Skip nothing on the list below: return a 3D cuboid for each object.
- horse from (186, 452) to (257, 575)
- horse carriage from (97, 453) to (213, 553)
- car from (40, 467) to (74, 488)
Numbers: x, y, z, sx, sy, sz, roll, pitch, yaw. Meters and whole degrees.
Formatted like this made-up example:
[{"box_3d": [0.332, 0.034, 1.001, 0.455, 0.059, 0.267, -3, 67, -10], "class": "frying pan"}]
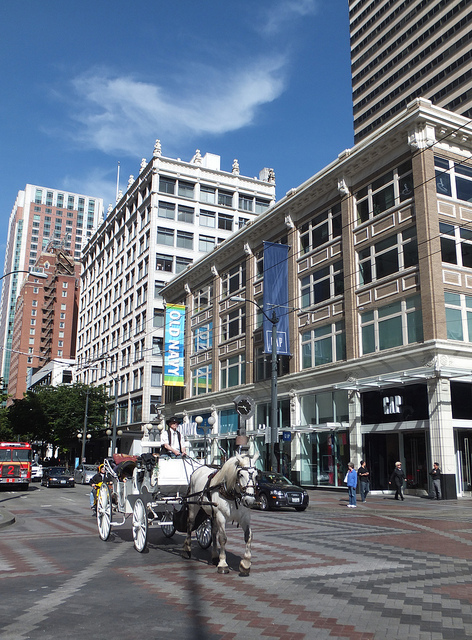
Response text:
[{"box_3d": [-0.223, 2.994, 9.332, 0.707, 1.722, 2.632, 7, -16, -20], "class": "horse"}, {"box_3d": [-1.457, 3.359, 11.353, 1.865, 1.506, 2.517, 11, -29, -24], "class": "horse carriage"}, {"box_3d": [-12.100, 10.548, 40.067, 1.160, 0.836, 2.601, 6, -24, -19], "class": "car"}]
